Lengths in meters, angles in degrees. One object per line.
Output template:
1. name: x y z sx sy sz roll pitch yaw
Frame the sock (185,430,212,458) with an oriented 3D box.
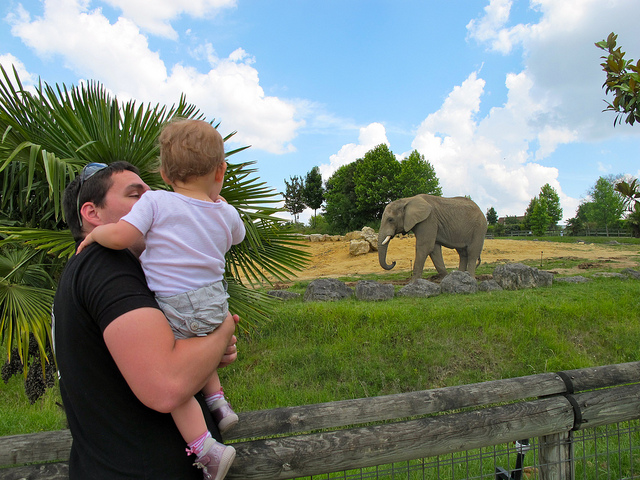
1. sock: -0.609 1.020 2.263 0.086 0.090 0.118 -34 -1 -2

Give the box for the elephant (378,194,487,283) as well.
1. elephant: 3.650 -0.008 14.593 3.488 3.117 1.659 0 11 8

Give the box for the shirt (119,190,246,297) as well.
1. shirt: -0.716 -0.146 2.414 0.698 0.543 0.474 2 12 -4
